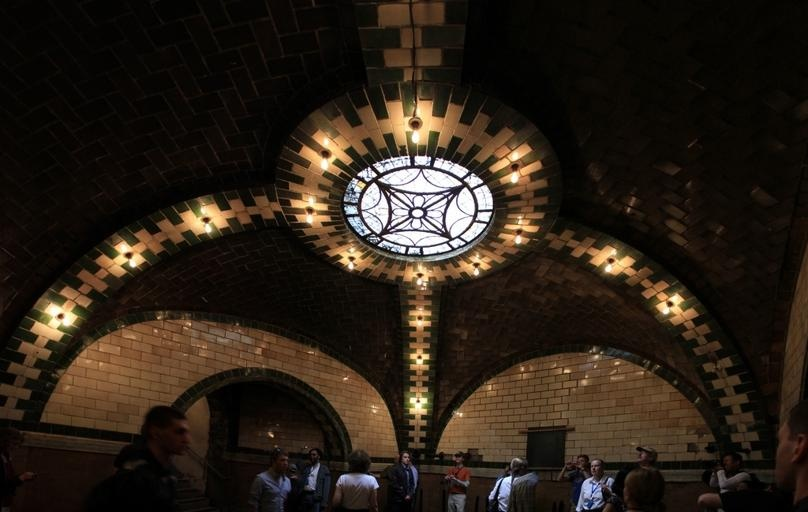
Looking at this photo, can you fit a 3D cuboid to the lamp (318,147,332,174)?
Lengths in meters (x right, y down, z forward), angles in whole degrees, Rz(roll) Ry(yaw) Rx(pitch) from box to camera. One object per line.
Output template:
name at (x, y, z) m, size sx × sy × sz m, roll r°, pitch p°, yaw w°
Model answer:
lamp at (-1.590, -1.985, 12.326) m, size 0.313 × 0.494 × 0.310 m, roll 18°, pitch -50°, yaw -22°

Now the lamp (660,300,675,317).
lamp at (6.030, 1.177, 13.701) m, size 0.202 × 0.345 × 0.201 m, roll 33°, pitch -49°, yaw 0°

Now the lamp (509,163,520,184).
lamp at (2.303, -1.753, 12.446) m, size 0.175 × 0.360 × 0.173 m, roll 25°, pitch -39°, yaw -25°

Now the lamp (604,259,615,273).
lamp at (4.744, 0.185, 14.042) m, size 0.181 × 0.306 × 0.306 m, roll 18°, pitch 16°, yaw 19°

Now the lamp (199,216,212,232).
lamp at (-4.439, -0.747, 13.471) m, size 0.161 × 0.207 × 0.390 m, roll 12°, pitch -27°, yaw -10°

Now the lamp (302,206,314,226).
lamp at (-2.142, -0.950, 13.781) m, size 0.220 × 0.122 × 0.658 m, roll 9°, pitch -27°, yaw -6°

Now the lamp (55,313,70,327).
lamp at (-7.330, 1.375, 12.958) m, size 0.087 × 0.193 × 0.274 m, roll 10°, pitch -40°, yaw 41°

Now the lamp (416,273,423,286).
lamp at (0.450, 0.623, 16.034) m, size 0.250 × 0.252 × 0.406 m, roll 5°, pitch -19°, yaw 3°
